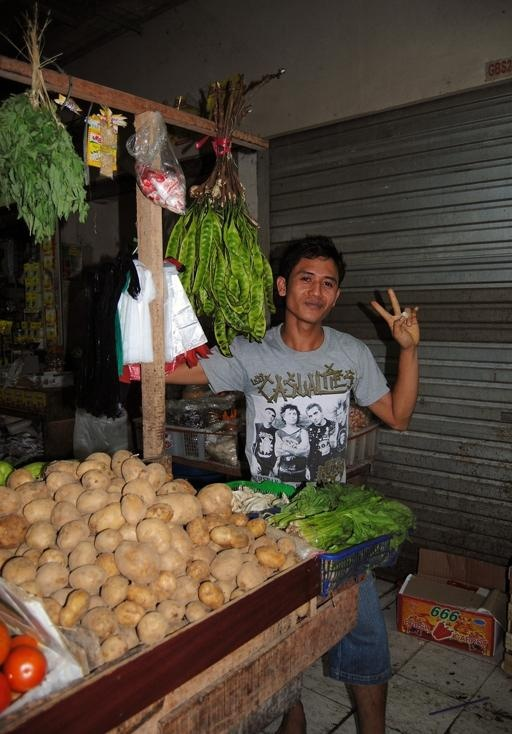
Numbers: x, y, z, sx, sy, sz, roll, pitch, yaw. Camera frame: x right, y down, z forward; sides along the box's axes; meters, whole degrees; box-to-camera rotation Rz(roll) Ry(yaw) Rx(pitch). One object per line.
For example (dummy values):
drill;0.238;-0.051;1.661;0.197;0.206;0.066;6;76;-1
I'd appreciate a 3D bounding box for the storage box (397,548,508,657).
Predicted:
storage box;1.440;1.540;3.645;0.808;0.519;0.609;2;3;28

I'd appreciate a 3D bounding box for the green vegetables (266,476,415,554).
green vegetables;0.287;0.475;1.796;0.457;0.247;0.565;5;8;25

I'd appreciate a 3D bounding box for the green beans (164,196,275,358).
green beans;-0.140;-0.391;2.186;0.320;0.625;0.400;-9;16;-41

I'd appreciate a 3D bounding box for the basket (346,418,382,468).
basket;0.810;0.680;4.073;0.274;0.334;0.514;8;13;42
